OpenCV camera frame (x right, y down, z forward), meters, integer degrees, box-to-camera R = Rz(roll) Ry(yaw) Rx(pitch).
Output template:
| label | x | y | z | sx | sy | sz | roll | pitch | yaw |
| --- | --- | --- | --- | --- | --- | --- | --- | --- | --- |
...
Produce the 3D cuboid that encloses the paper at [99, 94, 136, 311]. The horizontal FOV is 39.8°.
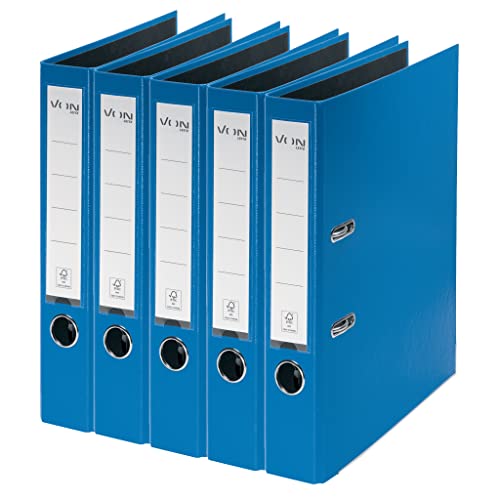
| label | x | y | z | sx | sy | sz | roll | pitch | yaw |
| --- | --- | --- | --- | --- | --- | --- | --- | --- | --- |
| paper | -0.269 | -0.087 | 1.413 | 0.093 | 0.010 | 0.451 | 4 | -80 | 9 |
